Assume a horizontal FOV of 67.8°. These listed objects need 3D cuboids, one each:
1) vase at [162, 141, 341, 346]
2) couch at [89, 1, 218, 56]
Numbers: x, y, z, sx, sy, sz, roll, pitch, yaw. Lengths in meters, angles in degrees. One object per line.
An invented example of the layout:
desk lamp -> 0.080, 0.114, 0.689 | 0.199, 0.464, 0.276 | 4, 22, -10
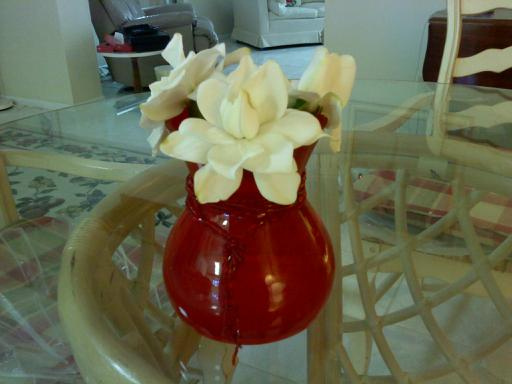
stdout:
vase -> 0.007, 0.060, 0.440 | 0.169, 0.201, 0.171 | 3, 29, 11
couch -> -0.905, -1.695, 3.878 | 0.970, 0.476, 1.310 | 6, 25, 14
